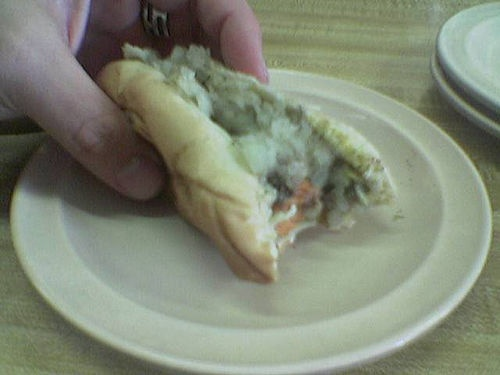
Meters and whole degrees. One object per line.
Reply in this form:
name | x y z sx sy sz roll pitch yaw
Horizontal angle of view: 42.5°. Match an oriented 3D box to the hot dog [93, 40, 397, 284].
hot dog | -0.027 -0.059 0.858 0.243 0.139 0.438 -22 49 -33
